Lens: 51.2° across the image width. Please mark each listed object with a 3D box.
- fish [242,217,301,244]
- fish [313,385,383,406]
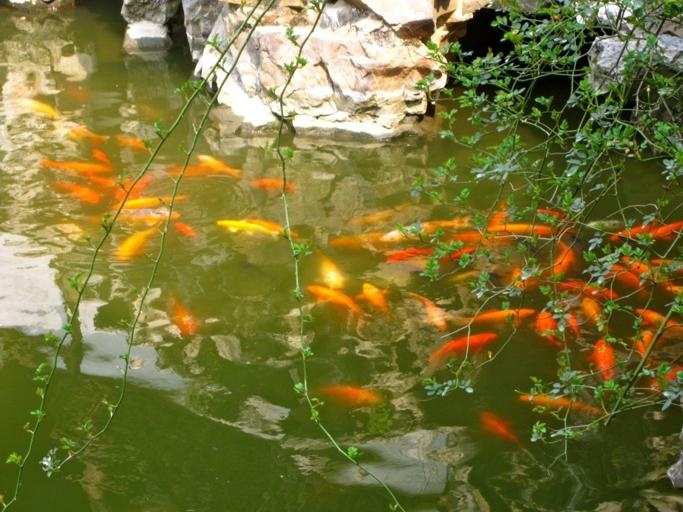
[{"bbox_3d":[-0.632,-0.213,6.362,0.524,0.196,0.083,16,-29,18],"label":"fish"},{"bbox_3d":[0.075,0.984,5.053,0.552,0.132,0.135,5,36,6],"label":"fish"}]
